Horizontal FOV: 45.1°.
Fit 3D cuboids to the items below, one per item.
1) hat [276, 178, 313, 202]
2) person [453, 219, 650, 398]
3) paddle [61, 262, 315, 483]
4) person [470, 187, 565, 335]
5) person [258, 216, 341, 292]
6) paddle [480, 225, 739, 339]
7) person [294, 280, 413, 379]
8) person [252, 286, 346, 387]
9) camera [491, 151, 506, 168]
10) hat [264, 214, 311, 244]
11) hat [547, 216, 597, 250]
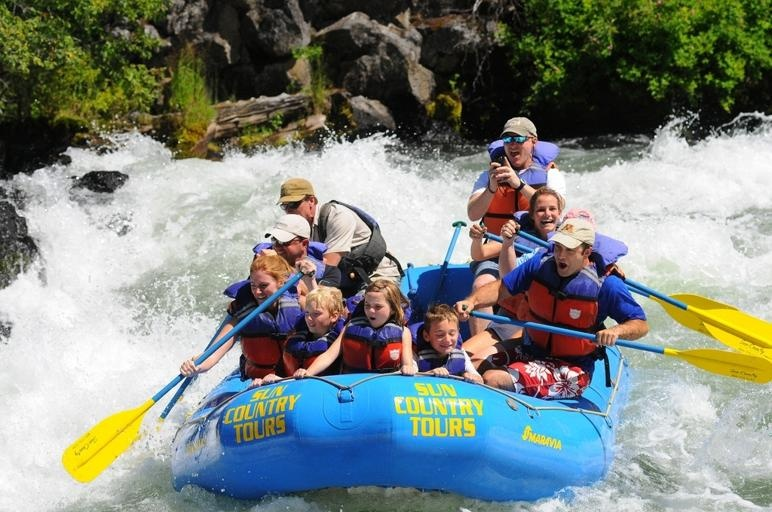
[{"bbox_3d":[-1.028,-0.740,10.606,0.331,0.186,0.246,-8,1,-41],"label":"hat"},{"bbox_3d":[1.737,0.633,10.094,0.900,1.653,1.294,-12,33,-44],"label":"person"},{"bbox_3d":[-2.258,1.420,10.592,3.422,0.399,0.136,-43,25,-12],"label":"paddle"},{"bbox_3d":[1.477,0.105,10.303,0.814,0.835,1.480,25,61,24],"label":"person"},{"bbox_3d":[-0.927,-0.050,10.223,0.597,0.552,0.964,12,6,25],"label":"person"},{"bbox_3d":[2.524,0.351,10.643,1.831,0.290,0.556,29,27,-4],"label":"paddle"},{"bbox_3d":[-0.358,0.811,9.708,0.735,0.941,0.530,3,-21,17],"label":"person"},{"bbox_3d":[-0.795,0.975,9.816,0.666,1.247,0.386,19,21,-8],"label":"person"},{"bbox_3d":[1.337,-1.156,11.126,0.169,0.185,0.063,4,7,28],"label":"camera"},{"bbox_3d":[-1.040,-0.287,10.219,0.287,0.220,0.405,4,3,45],"label":"hat"},{"bbox_3d":[1.944,-0.233,9.617,0.400,0.225,0.285,4,0,-38],"label":"hat"}]
